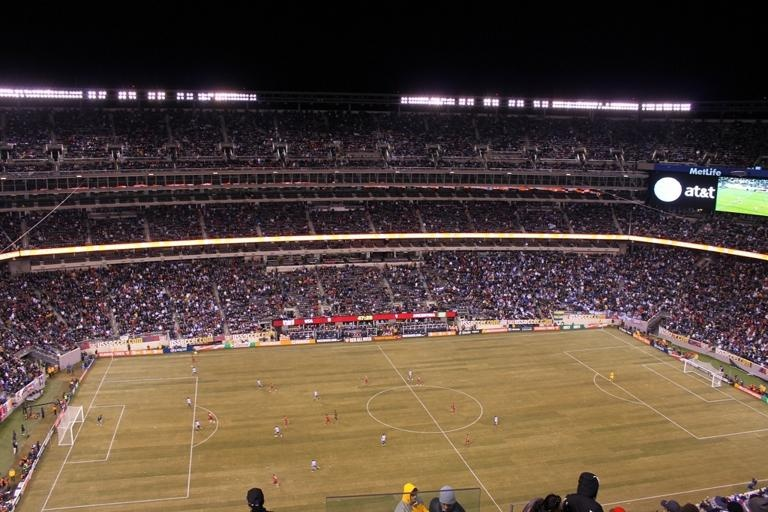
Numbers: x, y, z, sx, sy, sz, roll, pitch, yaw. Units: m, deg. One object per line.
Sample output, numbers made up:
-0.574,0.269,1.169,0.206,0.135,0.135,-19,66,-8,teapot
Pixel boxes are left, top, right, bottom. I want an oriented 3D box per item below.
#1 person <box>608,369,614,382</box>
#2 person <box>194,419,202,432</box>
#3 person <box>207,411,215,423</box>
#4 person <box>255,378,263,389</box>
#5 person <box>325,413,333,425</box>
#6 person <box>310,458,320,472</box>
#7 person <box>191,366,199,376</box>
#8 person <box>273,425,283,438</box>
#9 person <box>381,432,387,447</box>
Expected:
31.156,16.387,96.262,0.956,0.896,2.560,1,22,22,person
-22.562,20.286,84.675,1.015,0.792,1.772,-7,9,-14,person
-21.315,19.631,86.210,1.001,0.715,0.997,2,15,-14,person
-16.688,16.854,93.520,0.924,1.103,0.334,0,20,7,person
-6.790,19.998,86.332,1.048,1.079,0.769,14,-33,-22,person
-7.793,23.254,78.761,1.016,0.930,1.349,-6,9,-7,person
-26.021,15.456,96.173,0.991,1.023,2.024,-7,9,-13,person
-12.948,20.927,83.703,0.631,1.372,1.511,4,50,-6,person
-0.044,21.567,82.734,0.884,1.307,0.540,7,10,28,person
